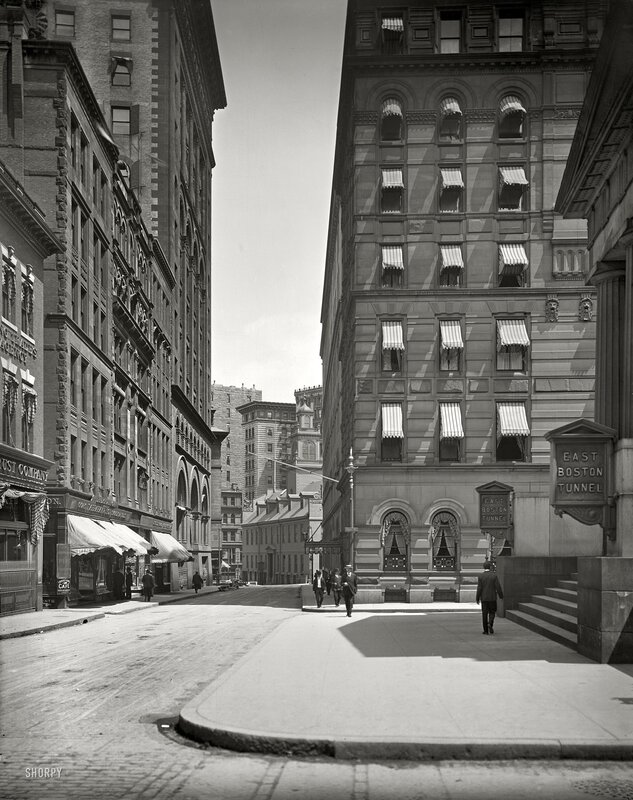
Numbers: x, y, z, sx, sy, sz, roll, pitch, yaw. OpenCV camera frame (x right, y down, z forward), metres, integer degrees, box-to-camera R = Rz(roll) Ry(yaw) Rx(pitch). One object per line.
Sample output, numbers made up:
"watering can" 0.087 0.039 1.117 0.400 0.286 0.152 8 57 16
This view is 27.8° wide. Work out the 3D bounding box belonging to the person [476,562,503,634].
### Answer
"person" 3.738 4.256 27.515 0.494 1.652 1.404 -1 -11 8
